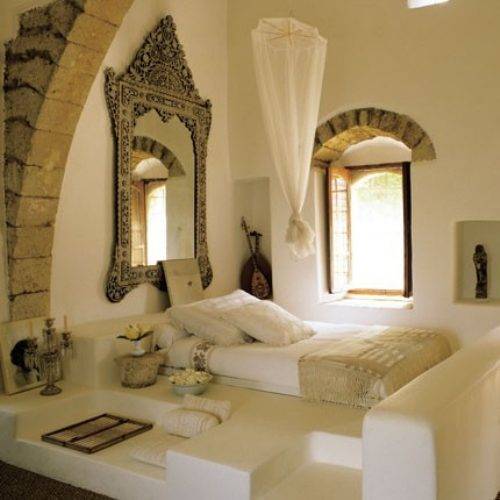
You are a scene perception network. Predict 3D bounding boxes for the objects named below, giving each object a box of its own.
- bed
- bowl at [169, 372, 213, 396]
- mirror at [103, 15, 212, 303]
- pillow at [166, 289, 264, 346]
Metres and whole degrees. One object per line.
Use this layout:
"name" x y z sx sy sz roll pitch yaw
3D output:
"bed" 0.470 0.816 3.800 1.871 0.386 1.531 -3 -5 35
"bowl" -0.400 0.893 3.139 0.279 0.153 0.182 0 -4 -4
"mirror" -0.871 -0.888 4.467 0.240 2.743 1.356 -2 -5 30
"pillow" -0.309 0.568 3.784 0.404 0.111 0.435 16 20 39
